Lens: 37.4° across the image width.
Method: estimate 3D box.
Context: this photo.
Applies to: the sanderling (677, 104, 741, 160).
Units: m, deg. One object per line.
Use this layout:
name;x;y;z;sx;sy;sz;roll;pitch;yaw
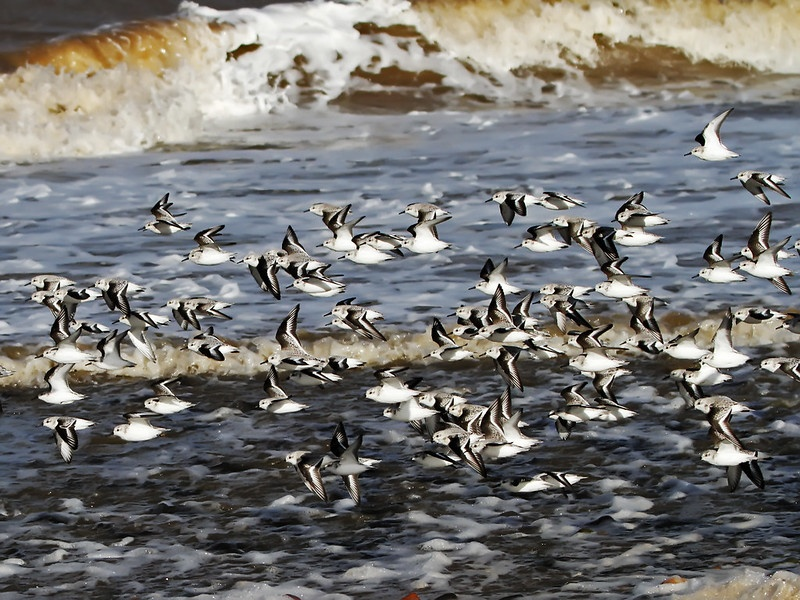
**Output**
sanderling;3.734;-1.968;14.148;0.457;0.562;1.011;-6;6;13
